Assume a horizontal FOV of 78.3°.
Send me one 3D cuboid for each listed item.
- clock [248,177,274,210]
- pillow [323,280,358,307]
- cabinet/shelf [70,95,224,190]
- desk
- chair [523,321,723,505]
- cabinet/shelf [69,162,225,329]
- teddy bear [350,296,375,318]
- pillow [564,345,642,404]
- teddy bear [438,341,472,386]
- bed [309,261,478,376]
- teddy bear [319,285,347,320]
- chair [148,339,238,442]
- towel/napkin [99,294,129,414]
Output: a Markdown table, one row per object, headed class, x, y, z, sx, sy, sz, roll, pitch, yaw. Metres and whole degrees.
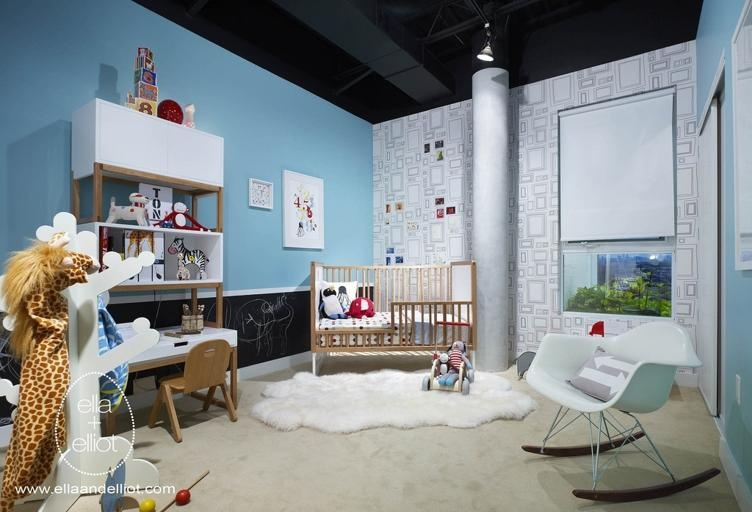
| class | x | y | z | sx | sy | sz | roll | pitch | yaw |
| --- | --- | --- | --- | --- | --- | --- | --- | --- | --- |
| clock | -1.215 | -0.653 | 4.821 | 0.046 | 0.331 | 0.349 | -5 | -7 | 39 |
| pillow | -0.345 | 0.393 | 5.179 | 0.314 | 0.303 | 0.093 | 11 | -21 | -44 |
| cabinet/shelf | -1.856 | -0.903 | 3.811 | 1.143 | 0.674 | 0.374 | -8 | 15 | -34 |
| desk | -1.521 | 0.803 | 3.761 | 0.699 | 1.001 | 1.028 | 2 | 0 | 31 |
| chair | 1.604 | 1.002 | 3.346 | 1.150 | 1.173 | 1.078 | 2 | -5 | -18 |
| cabinet/shelf | -1.844 | 0.008 | 3.852 | 0.426 | 1.348 | 1.085 | -2 | -2 | 33 |
| teddy bear | -0.142 | 0.560 | 5.127 | 0.240 | 0.195 | 0.188 | -13 | 3 | -1 |
| pillow | 1.562 | 0.825 | 3.188 | 0.281 | 0.236 | 0.329 | -9 | 15 | -36 |
| teddy bear | 0.751 | 1.004 | 4.333 | 0.230 | 0.283 | 0.449 | -5 | -15 | 15 |
| bed | 0.207 | 0.644 | 5.222 | 1.700 | 1.141 | 1.038 | 0 | -3 | 4 |
| teddy bear | -0.506 | 0.479 | 5.041 | 0.320 | 0.431 | 0.302 | -4 | 2 | 43 |
| chair | -1.453 | 0.988 | 3.680 | 0.449 | 0.737 | 0.564 | 4 | 4 | 29 |
| towel/napkin | -1.699 | 0.628 | 2.942 | 0.166 | 0.741 | 0.409 | -8 | 14 | -31 |
